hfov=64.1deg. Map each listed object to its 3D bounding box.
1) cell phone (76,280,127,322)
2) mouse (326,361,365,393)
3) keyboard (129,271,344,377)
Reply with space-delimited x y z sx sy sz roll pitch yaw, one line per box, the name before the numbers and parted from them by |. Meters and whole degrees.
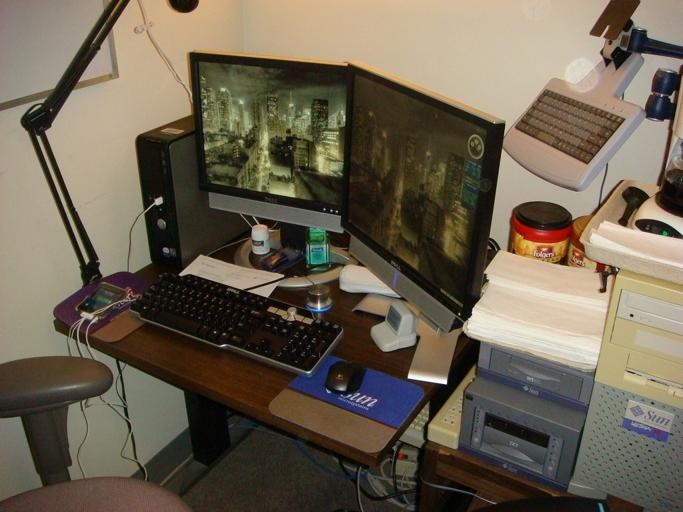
cell phone | -0.698 0.149 1.586 0.110 0.084 0.135 10 31 17
mouse | 0.006 0.292 1.307 0.081 0.046 0.077 15 32 14
keyboard | -0.300 0.177 1.493 0.612 0.081 0.240 14 27 29
